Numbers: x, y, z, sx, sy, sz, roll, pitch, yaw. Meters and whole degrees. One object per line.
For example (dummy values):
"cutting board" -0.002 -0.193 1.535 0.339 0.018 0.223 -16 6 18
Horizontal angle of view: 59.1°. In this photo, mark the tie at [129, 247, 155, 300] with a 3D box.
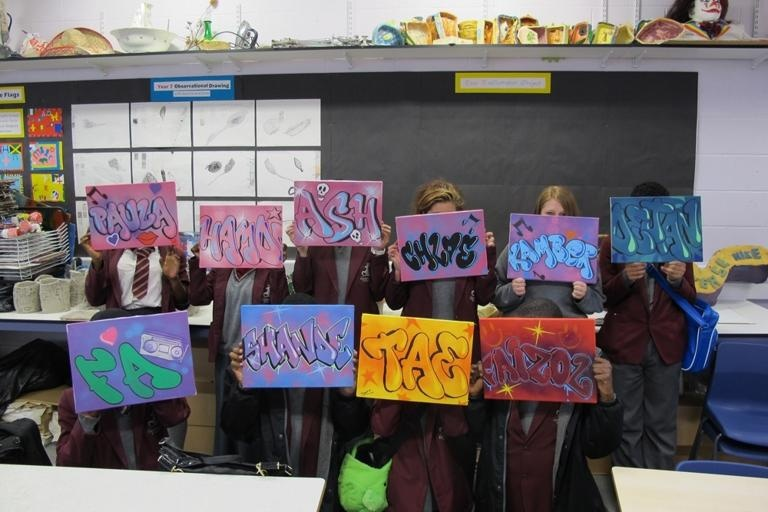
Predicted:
"tie" -1.540 0.104 4.319 0.139 0.315 0.089 -5 7 -20
